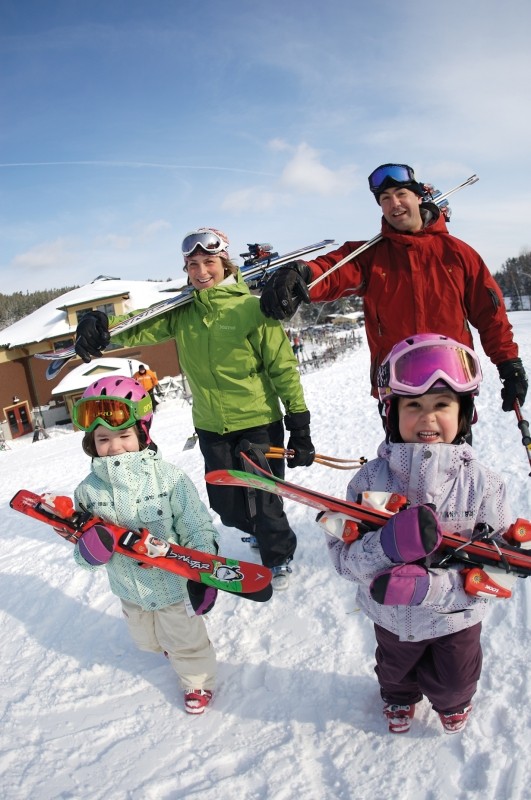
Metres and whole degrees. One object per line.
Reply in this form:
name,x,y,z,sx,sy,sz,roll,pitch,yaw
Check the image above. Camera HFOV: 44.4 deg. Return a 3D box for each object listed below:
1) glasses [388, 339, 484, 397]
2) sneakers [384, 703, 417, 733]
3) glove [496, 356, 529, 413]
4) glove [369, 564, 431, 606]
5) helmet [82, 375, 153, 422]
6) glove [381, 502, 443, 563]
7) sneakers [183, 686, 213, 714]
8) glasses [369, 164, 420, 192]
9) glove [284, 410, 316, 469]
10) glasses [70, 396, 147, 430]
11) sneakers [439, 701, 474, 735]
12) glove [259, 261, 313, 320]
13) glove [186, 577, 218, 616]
glasses,0.660,-0.133,2.613,0.252,0.156,0.316,-2,-3,4
sneakers,0.590,1.423,2.935,0.158,0.137,0.096,3,-5,-3
glove,1.359,-0.069,3.553,0.207,0.258,0.114,-3,3,31
glove,0.523,0.703,2.473,0.185,0.119,0.091,0,33,-22
helmet,-0.765,-0.004,3.393,0.226,0.187,0.306,-6,0,13
glove,0.550,0.507,2.447,0.118,0.143,0.208,5,-22,-21
sneakers,-0.347,1.517,3.260,0.076,0.071,0.158,0,-12,4
glasses,0.664,-1.162,3.385,0.238,0.132,0.251,-6,10,12
glove,0.220,0.247,4.065,0.145,0.322,0.225,-3,0,-7
glasses,-0.785,0.060,3.351,0.402,0.188,0.216,-11,11,-16
sneakers,0.818,1.386,2.868,0.118,0.134,0.144,-26,-26,0
glove,0.154,-0.523,3.311,0.317,0.136,0.249,-40,31,-21
glove,-0.305,0.935,3.047,0.170,0.140,0.127,23,-1,-10
